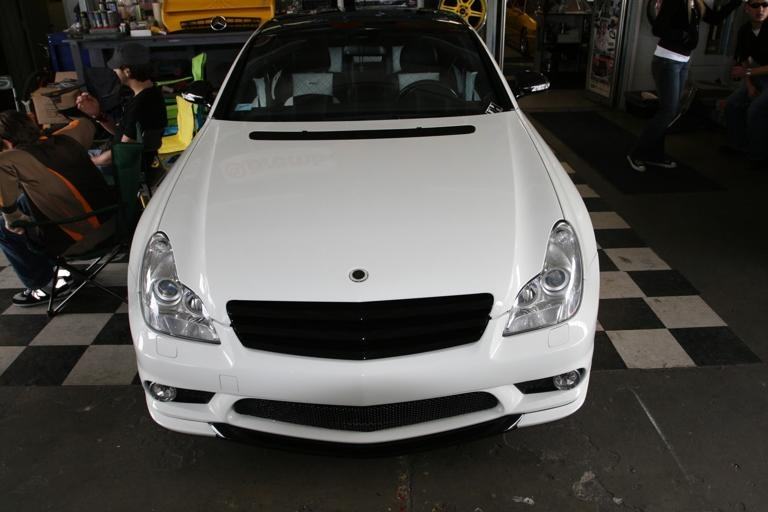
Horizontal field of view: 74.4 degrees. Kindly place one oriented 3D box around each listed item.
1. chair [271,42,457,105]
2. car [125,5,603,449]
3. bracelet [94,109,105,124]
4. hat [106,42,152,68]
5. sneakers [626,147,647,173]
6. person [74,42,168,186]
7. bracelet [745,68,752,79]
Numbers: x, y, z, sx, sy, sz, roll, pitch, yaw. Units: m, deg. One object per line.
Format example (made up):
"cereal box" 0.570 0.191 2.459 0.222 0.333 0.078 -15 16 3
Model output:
"chair" -0.176 -1.046 2.892 1.523 0.329 0.432 -1 22 -2
"car" -0.075 -0.155 2.434 1.949 1.250 1.526 0 27 5
"bracelet" -2.392 -1.164 4.245 0.077 0.052 0.093 0 -2 -5
"hat" -1.900 -1.455 3.768 0.235 0.132 0.190 4 42 -2
"sneakers" 2.532 -0.947 5.109 0.108 0.138 0.356 -8 48 3
"person" -2.058 -0.920 3.877 0.708 1.349 0.597 3 10 -13
"bracelet" 3.776 -1.889 5.251 0.051 0.079 0.081 3 -8 15
